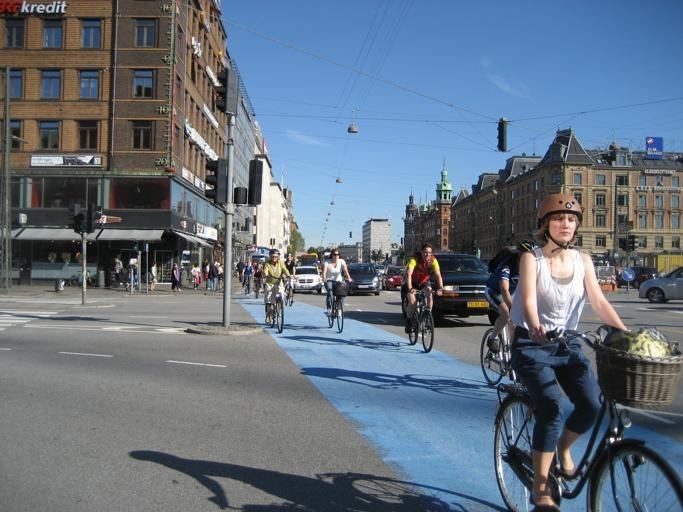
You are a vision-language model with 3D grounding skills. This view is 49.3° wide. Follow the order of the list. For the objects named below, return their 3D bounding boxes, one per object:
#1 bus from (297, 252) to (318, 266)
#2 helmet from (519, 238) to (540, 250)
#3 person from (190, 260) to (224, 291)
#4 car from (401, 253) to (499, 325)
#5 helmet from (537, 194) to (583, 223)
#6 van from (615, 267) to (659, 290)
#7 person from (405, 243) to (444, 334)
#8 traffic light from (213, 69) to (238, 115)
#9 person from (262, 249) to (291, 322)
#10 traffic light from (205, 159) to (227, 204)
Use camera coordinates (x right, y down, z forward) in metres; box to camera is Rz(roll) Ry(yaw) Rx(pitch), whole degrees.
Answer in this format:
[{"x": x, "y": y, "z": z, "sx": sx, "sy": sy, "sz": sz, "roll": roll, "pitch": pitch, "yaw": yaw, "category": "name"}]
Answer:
[{"x": -3.282, "y": 0.313, "z": 72.723, "sx": 1.588, "sy": 1.650, "sz": 2.617, "roll": 0, "pitch": -6, "yaw": -4, "category": "bus"}, {"x": 1.673, "y": -0.089, "z": 6.738, "sx": 0.147, "sy": 0.143, "sz": 0.219, "roll": 0, "pitch": -6, "yaw": 5, "category": "helmet"}, {"x": -7.010, "y": 1.086, "z": 38.397, "sx": 1.307, "sy": 1.786, "sz": 0.571, "roll": 4, "pitch": 6, "yaw": 20, "category": "person"}, {"x": 2.575, "y": 0.647, "z": 16.492, "sx": 1.067, "sy": 1.262, "sz": 2.595, "roll": 0, "pitch": -6, "yaw": -5, "category": "car"}, {"x": 1.764, "y": -0.430, "z": 6.017, "sx": 0.211, "sy": 0.298, "sz": 0.289, "roll": 5, "pitch": -14, "yaw": -29, "category": "helmet"}, {"x": 17.116, "y": 1.354, "z": 43.360, "sx": 1.155, "sy": 1.189, "sz": 2.550, "roll": -2, "pitch": 6, "yaw": -17, "category": "van"}, {"x": 1.384, "y": 0.614, "z": 12.765, "sx": 0.591, "sy": 1.605, "sz": 1.040, "roll": -1, "pitch": 1, "yaw": 6, "category": "person"}, {"x": -2.286, "y": -3.248, "z": 14.719, "sx": 0.429, "sy": 0.994, "sz": 0.626, "roll": -1, "pitch": 1, "yaw": -10, "category": "traffic light"}, {"x": -1.416, "y": 0.687, "z": 15.980, "sx": 0.530, "sy": 1.626, "sz": 0.966, "roll": -2, "pitch": 1, "yaw": -20, "category": "person"}, {"x": -2.558, "y": -1.510, "z": 15.075, "sx": 0.427, "sy": 0.957, "sz": 1.868, "roll": -1, "pitch": 2, "yaw": -10, "category": "traffic light"}]
